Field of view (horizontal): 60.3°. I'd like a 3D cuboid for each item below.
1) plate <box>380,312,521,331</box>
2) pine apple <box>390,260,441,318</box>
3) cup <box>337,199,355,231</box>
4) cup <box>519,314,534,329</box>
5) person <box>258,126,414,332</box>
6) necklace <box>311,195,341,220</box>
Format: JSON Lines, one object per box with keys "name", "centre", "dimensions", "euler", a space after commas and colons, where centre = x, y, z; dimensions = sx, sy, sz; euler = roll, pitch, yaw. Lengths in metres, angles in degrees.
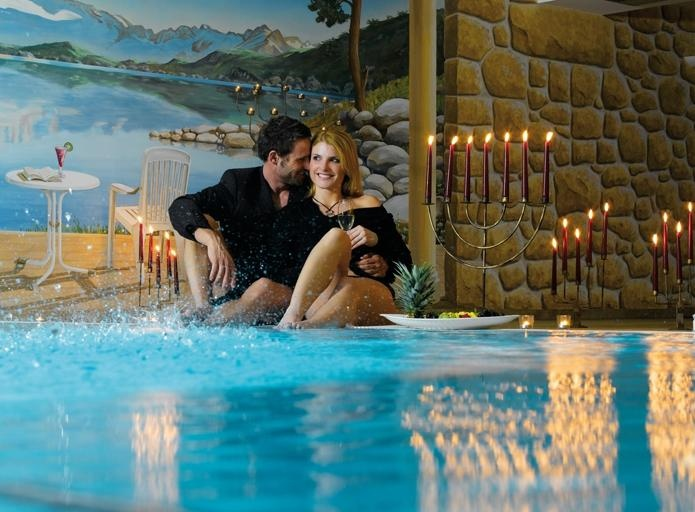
{"name": "plate", "centre": [0.413, 0.271, 2.511], "dimensions": [0.526, 0.085, 0.245], "euler": [1, 3, 7]}
{"name": "pine apple", "centre": [0.297, 0.151, 2.611], "dimensions": [0.159, 0.238, 0.276], "euler": [0, 3, 3]}
{"name": "cup", "centre": [-0.009, -0.174, 2.603], "dimensions": [0.065, 0.131, 0.125], "euler": [0, 3, -1]}
{"name": "cup", "centre": [0.851, 0.303, 2.789], "dimensions": [0.077, 0.063, 0.070], "euler": [0, -1, 0]}
{"name": "person", "centre": [-0.083, -0.063, 2.936], "dimensions": [0.622, 1.125, 0.538], "euler": [0, 7, -39]}
{"name": "necklace", "centre": [-0.109, -0.251, 3.070], "dimensions": [0.165, 0.118, 0.047], "euler": [2, -17, 3]}
